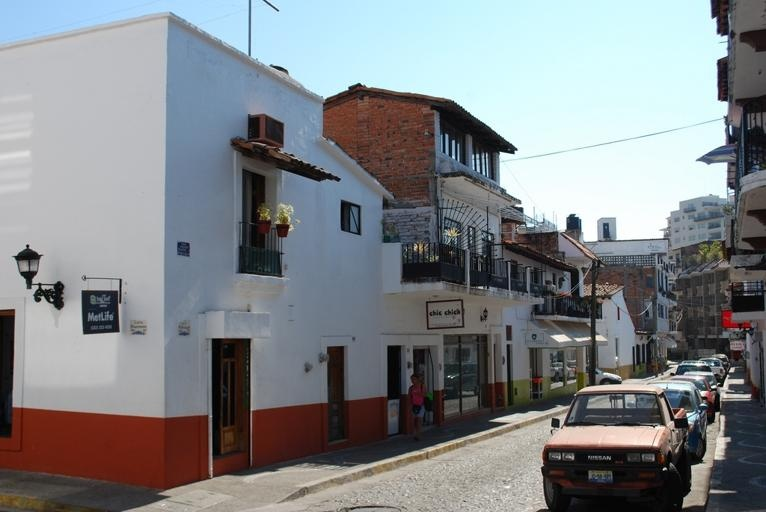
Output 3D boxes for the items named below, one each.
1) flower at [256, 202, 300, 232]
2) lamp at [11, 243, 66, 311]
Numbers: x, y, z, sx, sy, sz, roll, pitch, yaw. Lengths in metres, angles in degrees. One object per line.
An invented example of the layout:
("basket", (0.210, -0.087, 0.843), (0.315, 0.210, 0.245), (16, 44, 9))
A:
("flower", (-2.928, -1.149, 25.027), (0.797, 0.601, 0.816), (0, -10, -5))
("lamp", (-8.890, 0.552, 23.195), (1.236, 1.739, 0.650), (3, 0, 18))
